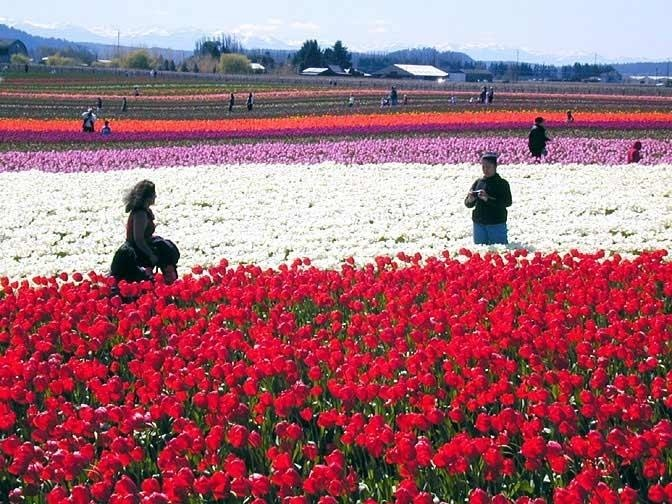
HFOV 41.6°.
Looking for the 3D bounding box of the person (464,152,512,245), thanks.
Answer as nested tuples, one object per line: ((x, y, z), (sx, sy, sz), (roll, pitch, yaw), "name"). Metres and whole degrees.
((2.068, -0.695, 11.859), (0.600, 1.239, 0.730), (2, 10, 9), "person")

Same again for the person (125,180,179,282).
((-2.130, -0.225, 10.252), (0.590, 1.169, 0.530), (-2, 10, -13), "person")
